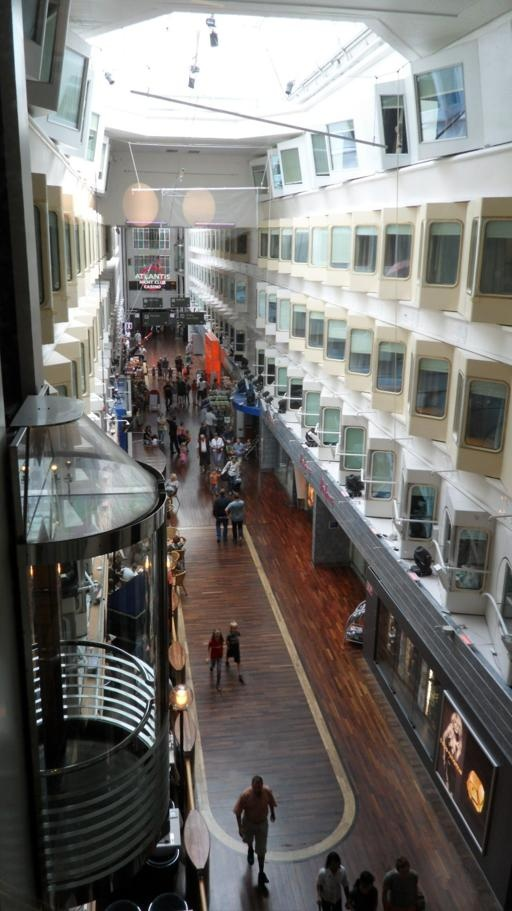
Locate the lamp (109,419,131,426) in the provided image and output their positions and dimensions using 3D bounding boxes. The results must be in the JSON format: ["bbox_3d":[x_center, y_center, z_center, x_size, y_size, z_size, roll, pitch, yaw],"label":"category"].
[{"bbox_3d":[-4.315,-1.049,18.228,0.480,0.167,0.571,0,6,15],"label":"lamp"}]

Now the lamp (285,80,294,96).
[{"bbox_3d":[0.868,-9.497,14.924,0.159,0.231,0.508,-1,15,-9],"label":"lamp"}]

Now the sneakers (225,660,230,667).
[{"bbox_3d":[-0.591,4.335,11.976,0.110,0.216,0.101,2,40,0],"label":"sneakers"}]

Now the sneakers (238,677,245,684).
[{"bbox_3d":[-0.281,4.498,11.477,0.096,0.194,0.088,-9,38,-12],"label":"sneakers"}]

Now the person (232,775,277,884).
[{"bbox_3d":[-0.004,4.520,7.151,0.454,1.906,0.738,2,12,4],"label":"person"}]
